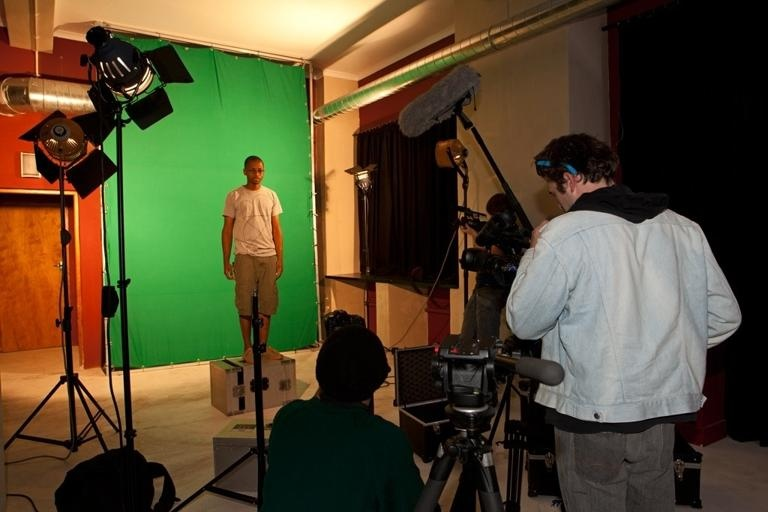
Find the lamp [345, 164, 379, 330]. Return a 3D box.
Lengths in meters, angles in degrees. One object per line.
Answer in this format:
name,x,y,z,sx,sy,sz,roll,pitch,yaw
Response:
lamp,-0.263,-0.140,8.544,0.360,1.623,1.174,-1,0,-2

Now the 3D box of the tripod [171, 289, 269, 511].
tripod,-1.534,1.309,5.907,1.267,1.740,1.173,3,16,-8
